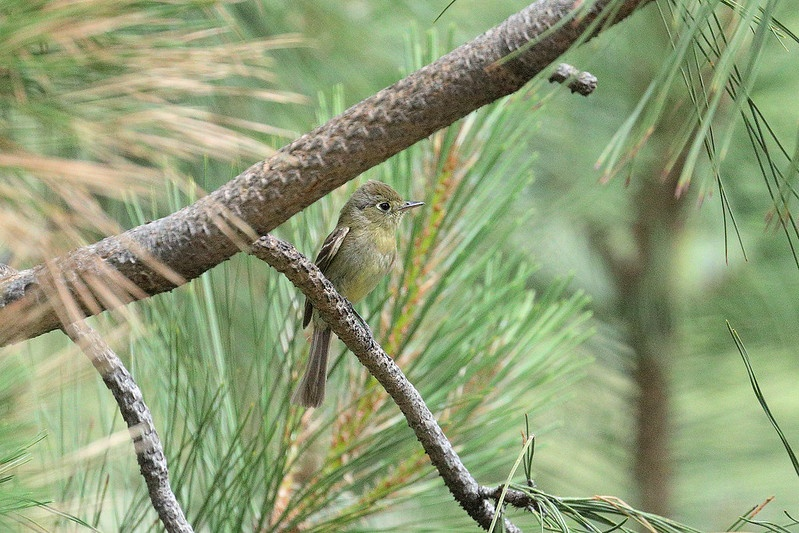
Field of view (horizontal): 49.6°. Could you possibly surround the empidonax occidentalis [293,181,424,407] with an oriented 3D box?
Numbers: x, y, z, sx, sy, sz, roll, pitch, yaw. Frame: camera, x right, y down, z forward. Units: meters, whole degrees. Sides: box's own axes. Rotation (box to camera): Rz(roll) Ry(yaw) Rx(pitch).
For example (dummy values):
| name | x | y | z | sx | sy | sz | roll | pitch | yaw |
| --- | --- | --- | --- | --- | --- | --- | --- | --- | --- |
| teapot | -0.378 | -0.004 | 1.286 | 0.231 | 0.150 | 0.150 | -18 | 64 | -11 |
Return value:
| name | x | y | z | sx | sy | sz | roll | pitch | yaw |
| --- | --- | --- | --- | --- | --- | --- | --- | --- | --- |
| empidonax occidentalis | -0.538 | 0.151 | 4.968 | 0.459 | 0.664 | 1.366 | 21 | -61 | -35 |
